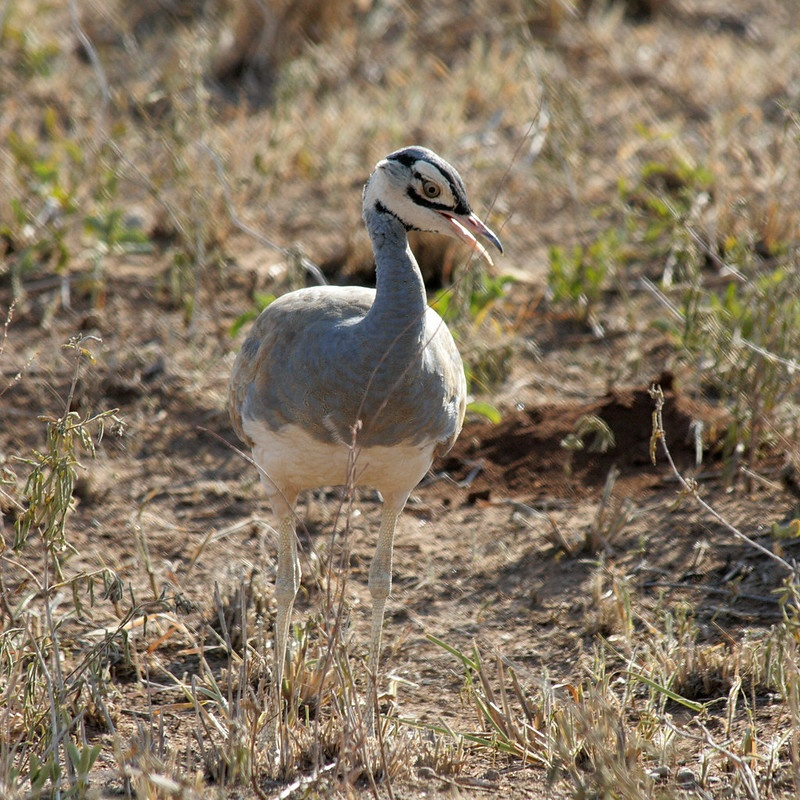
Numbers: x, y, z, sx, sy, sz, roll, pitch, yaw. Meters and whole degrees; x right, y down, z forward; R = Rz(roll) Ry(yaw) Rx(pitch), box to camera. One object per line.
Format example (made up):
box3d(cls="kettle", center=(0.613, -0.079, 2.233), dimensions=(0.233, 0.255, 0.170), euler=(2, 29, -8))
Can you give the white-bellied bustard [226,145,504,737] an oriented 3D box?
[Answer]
box3d(cls="white-bellied bustard", center=(-0.175, 0.096, 4.515), dimensions=(1.113, 2.152, 0.849), euler=(2, 7, 23))
